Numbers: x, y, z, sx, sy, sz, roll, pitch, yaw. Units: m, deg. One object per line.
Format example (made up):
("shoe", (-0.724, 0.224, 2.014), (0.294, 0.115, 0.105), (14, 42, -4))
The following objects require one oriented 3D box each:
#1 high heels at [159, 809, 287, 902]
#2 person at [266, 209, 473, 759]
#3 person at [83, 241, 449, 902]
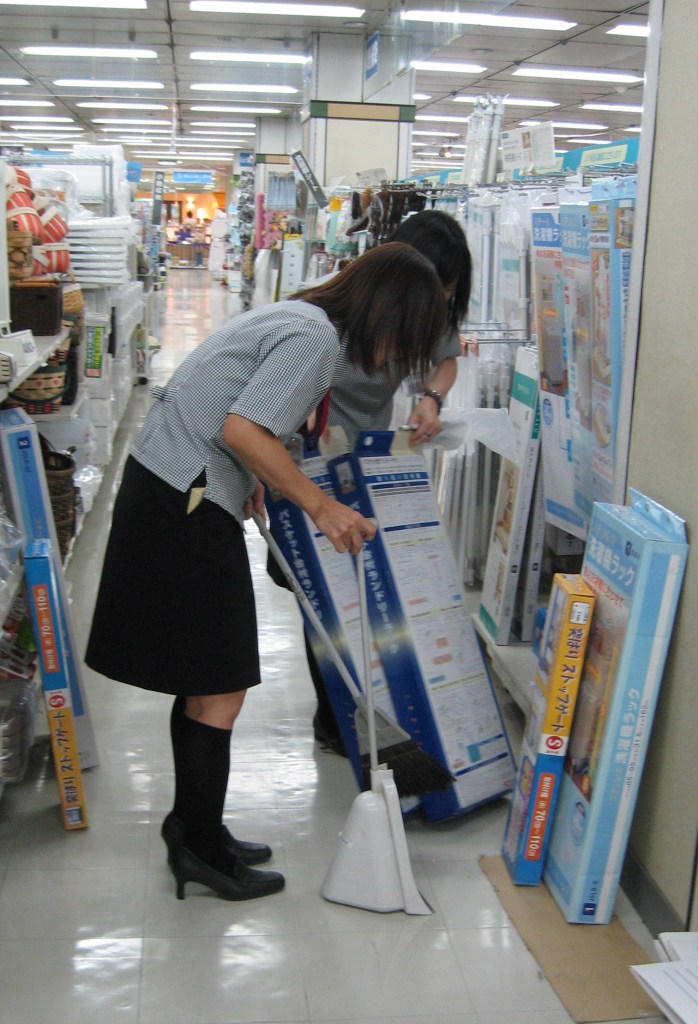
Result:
("high heels", (-0.275, 0.773, 1.596), (0.203, 0.109, 0.199), (0, 6, -21))
("person", (0.128, 0.007, 2.514), (0.659, 1.967, 0.609), (-17, 39, -8))
("person", (-0.168, 0.170, 1.435), (0.629, 1.348, 0.497), (6, 4, 43))
